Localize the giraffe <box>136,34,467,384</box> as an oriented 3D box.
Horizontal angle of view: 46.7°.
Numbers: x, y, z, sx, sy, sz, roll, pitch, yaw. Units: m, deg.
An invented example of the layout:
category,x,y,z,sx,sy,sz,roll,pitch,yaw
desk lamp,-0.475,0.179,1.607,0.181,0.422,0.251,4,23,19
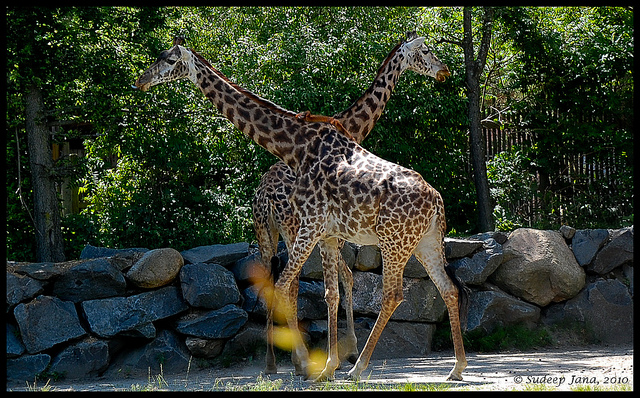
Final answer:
category,x,y,z,sx,sy,sz,roll,pitch,yaw
giraffe,-0.525,0.325,13.549,5.979,5.822,1.850,-4,-13,25
